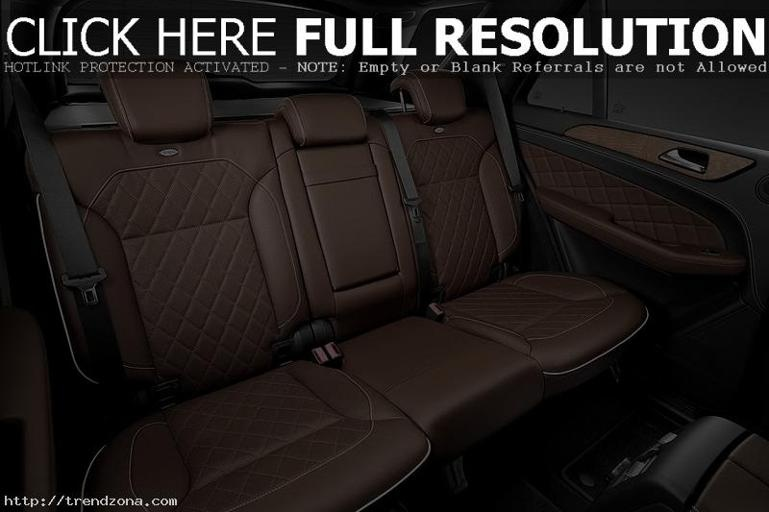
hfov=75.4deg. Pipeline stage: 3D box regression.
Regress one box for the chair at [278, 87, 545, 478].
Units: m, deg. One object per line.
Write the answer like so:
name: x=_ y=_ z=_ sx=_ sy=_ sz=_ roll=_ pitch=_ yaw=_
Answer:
chair: x=0.005 y=-0.029 z=1.862 sx=0.582 sy=1.074 sz=1.044 roll=-16 pitch=24 yaw=-37

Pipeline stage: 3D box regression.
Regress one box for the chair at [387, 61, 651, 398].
chair: x=0.490 y=-0.169 z=2.047 sx=0.795 sy=1.146 sz=1.028 roll=-14 pitch=20 yaw=-33
